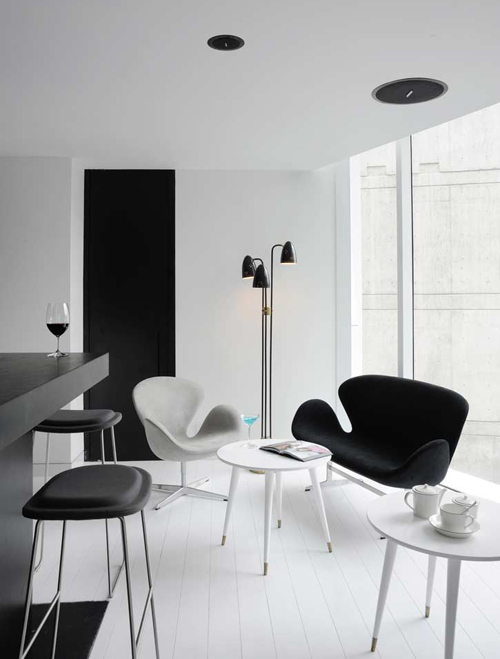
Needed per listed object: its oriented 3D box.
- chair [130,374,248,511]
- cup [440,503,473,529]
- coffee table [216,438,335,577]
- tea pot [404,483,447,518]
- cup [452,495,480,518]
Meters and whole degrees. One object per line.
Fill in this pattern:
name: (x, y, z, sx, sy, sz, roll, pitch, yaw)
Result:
chair: (-0.417, 0.612, 3.738, 0.672, 0.910, 0.792, -4, -5, 39)
cup: (0.691, 0.607, 1.895, 0.095, 0.082, 0.081, 0, -1, 11)
coffee table: (0.102, 0.875, 2.975, 0.488, 0.497, 0.538, 1, -2, -32)
tea pot: (0.658, 0.601, 2.096, 0.141, 0.126, 0.104, 0, -8, 0)
cup: (0.738, 0.590, 1.932, 0.062, 0.089, 0.091, 2, 3, 6)
